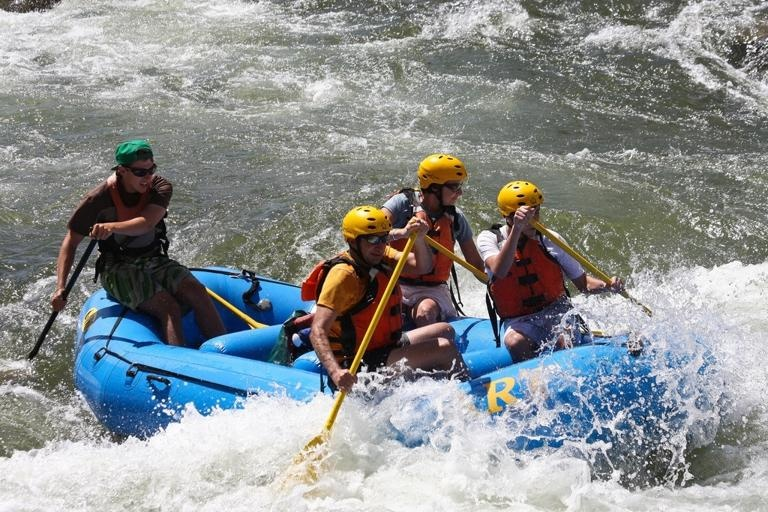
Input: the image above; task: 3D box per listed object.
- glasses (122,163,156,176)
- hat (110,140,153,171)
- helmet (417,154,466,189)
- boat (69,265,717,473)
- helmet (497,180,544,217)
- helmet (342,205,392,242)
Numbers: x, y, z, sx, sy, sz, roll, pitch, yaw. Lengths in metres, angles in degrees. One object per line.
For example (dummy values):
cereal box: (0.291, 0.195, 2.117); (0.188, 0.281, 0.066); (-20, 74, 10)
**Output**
glasses: (-2.980, -1.051, 10.864); (0.208, 0.064, 0.214); (-13, 26, -44)
hat: (-3.117, -1.300, 10.940); (0.404, 0.292, 0.396); (-8, 27, -17)
helmet: (0.702, -1.039, 10.877); (0.514, 0.386, 0.391); (17, 9, 13)
boat: (-0.320, 1.394, 10.240); (5.169, 1.151, 2.998); (7, 12, 21)
helmet: (1.579, -0.665, 10.499); (0.496, 0.301, 0.390); (10, 30, 41)
helmet: (-0.198, -0.387, 9.994); (0.473, 0.366, 0.354); (-18, -7, 19)
